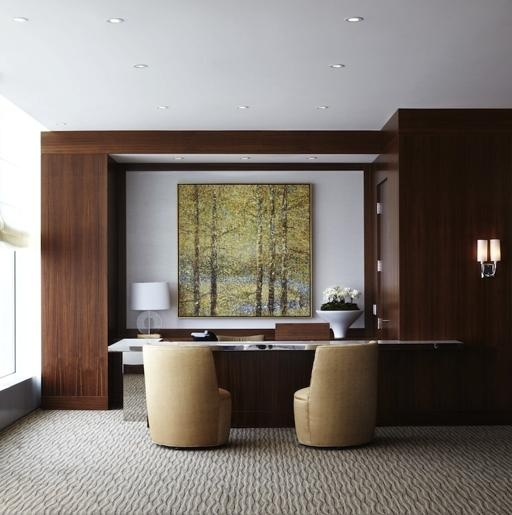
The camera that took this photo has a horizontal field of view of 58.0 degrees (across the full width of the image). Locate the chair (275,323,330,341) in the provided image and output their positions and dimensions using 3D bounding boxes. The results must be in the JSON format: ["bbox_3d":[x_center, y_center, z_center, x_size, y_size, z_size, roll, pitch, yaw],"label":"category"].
[{"bbox_3d":[0.586,0.928,5.655,0.754,0.203,0.255,1,-1,-2],"label":"chair"}]

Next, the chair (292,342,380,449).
[{"bbox_3d":[0.688,1.203,4.090,0.762,0.827,0.777,-9,-15,35],"label":"chair"}]

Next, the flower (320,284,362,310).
[{"bbox_3d":[1.065,0.533,5.873,0.409,0.272,0.333,0,-9,-5],"label":"flower"}]

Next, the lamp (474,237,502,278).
[{"bbox_3d":[2.398,0.004,4.742,0.255,0.421,0.193,-2,0,13],"label":"lamp"}]

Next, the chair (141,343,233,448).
[{"bbox_3d":[-0.591,1.197,4.066,0.731,0.848,0.814,-6,-9,28],"label":"chair"}]

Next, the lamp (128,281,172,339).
[{"bbox_3d":[-1.384,0.661,5.921,0.565,0.689,0.427,-2,0,44],"label":"lamp"}]

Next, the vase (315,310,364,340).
[{"bbox_3d":[1.027,0.801,5.806,0.463,0.279,0.434,0,-7,-1],"label":"vase"}]
